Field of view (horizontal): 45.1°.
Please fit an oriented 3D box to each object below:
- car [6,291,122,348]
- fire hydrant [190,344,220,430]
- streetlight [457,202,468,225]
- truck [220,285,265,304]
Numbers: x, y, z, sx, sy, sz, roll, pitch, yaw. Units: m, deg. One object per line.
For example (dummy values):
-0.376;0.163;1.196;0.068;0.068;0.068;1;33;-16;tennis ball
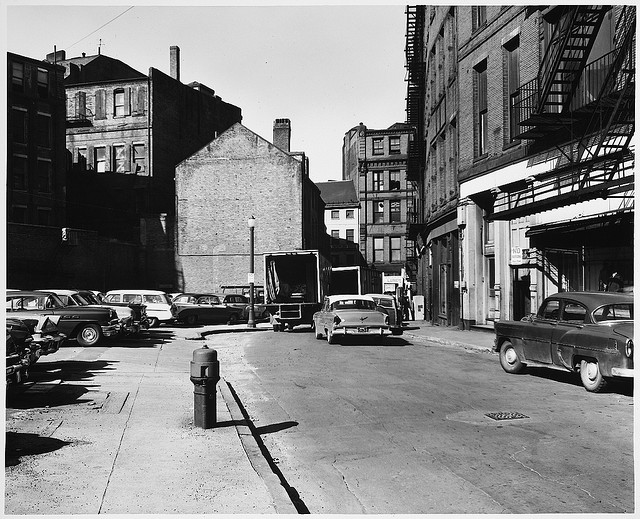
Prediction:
-7.641;1.776;23.047;2.987;1.149;1.478;0;0;-3;car
-1.867;2.105;12.649;0.434;1.295;0.398;-1;-2;-10;fire hydrant
5.828;-1.878;31.366;0.184;0.864;0.671;-1;-3;-9;streetlight
-4.199;1.768;43.410;2.251;1.439;1.527;-1;-1;5;truck
